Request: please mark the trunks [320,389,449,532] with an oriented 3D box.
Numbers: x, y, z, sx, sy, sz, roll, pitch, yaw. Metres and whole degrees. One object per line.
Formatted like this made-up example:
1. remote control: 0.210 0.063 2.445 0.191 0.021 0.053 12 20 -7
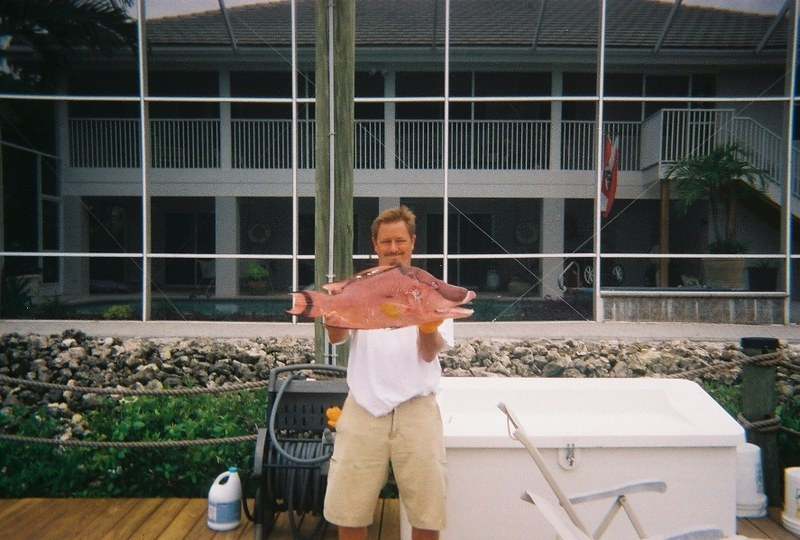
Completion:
1. trunks: -0.191 2.508 11.328 1.594 1.826 0.858 1 -10 -1
